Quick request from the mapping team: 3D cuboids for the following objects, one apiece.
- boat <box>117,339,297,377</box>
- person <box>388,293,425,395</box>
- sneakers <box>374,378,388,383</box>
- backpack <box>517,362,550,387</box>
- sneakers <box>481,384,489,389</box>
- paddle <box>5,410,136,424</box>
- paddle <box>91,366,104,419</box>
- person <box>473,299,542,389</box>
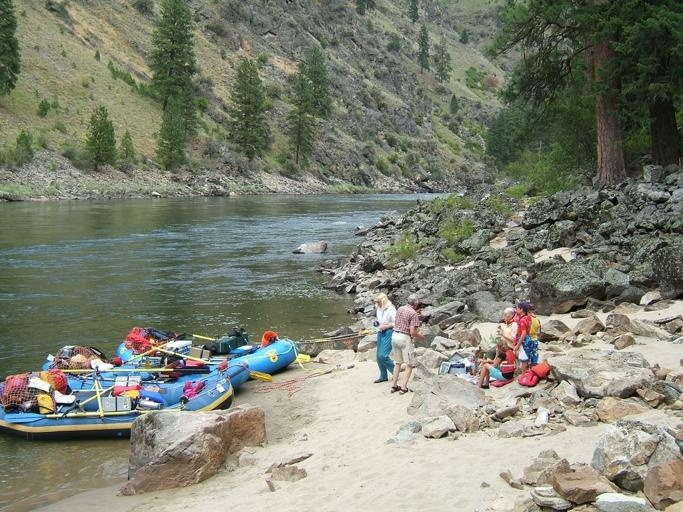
[{"bbox_3d":[-3.265,2.762,18.585,3.499,0.619,1.816,0,3,-22],"label":"boat"},{"bbox_3d":[1.590,2.137,16.809,0.769,2.276,0.933,-2,0,5],"label":"person"},{"bbox_3d":[1.018,3.191,17.338,0.335,0.125,0.104,-11,-14,-21],"label":"sneakers"},{"bbox_3d":[4.375,2.672,15.363,0.695,0.209,0.465,-28,32,-8],"label":"backpack"},{"bbox_3d":[3.358,3.019,15.737,0.252,0.112,0.092,-2,0,-26],"label":"sneakers"},{"bbox_3d":[-6.775,3.804,16.052,1.952,0.198,0.879,-1,-3,-7],"label":"paddle"},{"bbox_3d":[-5.951,3.417,16.456,0.213,0.229,1.908,-24,35,-3],"label":"paddle"},{"bbox_3d":[3.931,2.055,15.823,1.290,1.852,0.547,-2,0,13],"label":"person"}]
